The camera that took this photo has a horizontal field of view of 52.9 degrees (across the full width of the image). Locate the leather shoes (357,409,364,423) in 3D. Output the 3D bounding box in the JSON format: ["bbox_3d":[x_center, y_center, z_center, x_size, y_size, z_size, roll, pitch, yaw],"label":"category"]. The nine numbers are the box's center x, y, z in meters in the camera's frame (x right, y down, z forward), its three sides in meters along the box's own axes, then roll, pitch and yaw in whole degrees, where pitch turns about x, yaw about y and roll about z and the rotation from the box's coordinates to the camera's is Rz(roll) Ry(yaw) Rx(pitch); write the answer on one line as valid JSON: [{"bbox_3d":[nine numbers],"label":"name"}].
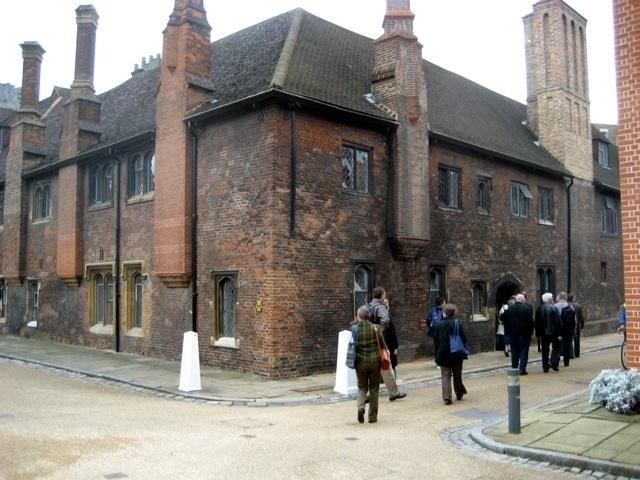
[{"bbox_3d":[0.822,3.605,13.166,0.129,0.296,0.254,-1,-10,-3],"label":"leather shoes"}]

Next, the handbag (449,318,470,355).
[{"bbox_3d":[3.171,2.260,14.824,0.419,0.877,0.198,3,-10,-23],"label":"handbag"}]

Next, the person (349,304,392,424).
[{"bbox_3d":[1.032,2.576,13.492,0.720,2.409,0.402,2,-9,-17],"label":"person"}]

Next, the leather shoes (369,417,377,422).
[{"bbox_3d":[1.072,3.687,13.245,0.132,0.148,0.083,-1,1,39],"label":"leather shoes"}]

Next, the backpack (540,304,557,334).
[{"bbox_3d":[6.539,2.305,18.532,0.648,0.990,0.336,-2,-9,32],"label":"backpack"}]
